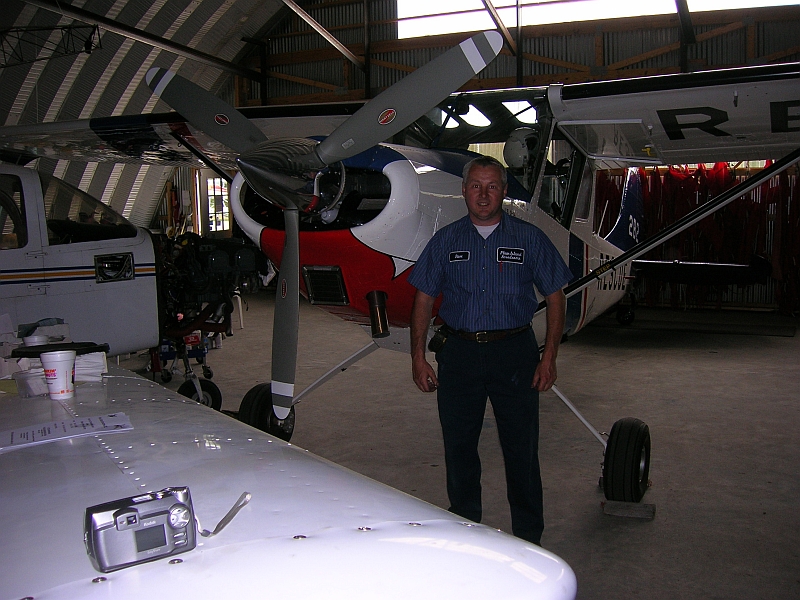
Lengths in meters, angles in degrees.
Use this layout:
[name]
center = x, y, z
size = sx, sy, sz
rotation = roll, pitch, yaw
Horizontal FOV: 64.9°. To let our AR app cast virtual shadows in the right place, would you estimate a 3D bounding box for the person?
[person]
center = 0.361, 0.194, 2.645
size = 0.650, 1.579, 0.270
rotation = 3, 7, 13
